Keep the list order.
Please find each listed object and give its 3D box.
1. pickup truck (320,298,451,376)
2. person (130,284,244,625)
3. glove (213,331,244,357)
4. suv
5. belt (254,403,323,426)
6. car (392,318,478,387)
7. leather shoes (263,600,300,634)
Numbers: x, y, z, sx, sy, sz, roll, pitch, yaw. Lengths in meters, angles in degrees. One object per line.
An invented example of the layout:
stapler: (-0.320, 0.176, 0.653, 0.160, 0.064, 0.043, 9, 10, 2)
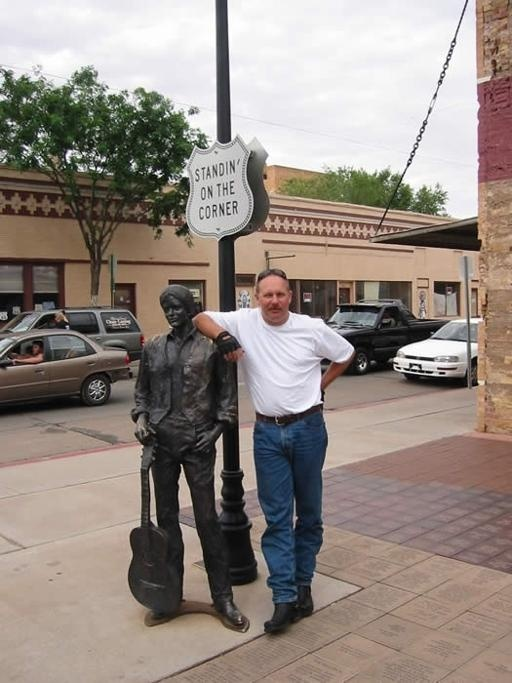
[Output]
pickup truck: (3.499, -0.245, 17.487, 3.956, 1.611, 1.855, -3, 0, -39)
person: (-0.351, 0.564, 3.158, 0.531, 1.707, 0.344, -2, 1, -8)
glove: (-0.164, 0.006, 3.073, 0.088, 0.116, 0.177, -3, 2, -42)
suv: (-4.190, -0.305, 15.938, 4.197, 1.629, 1.821, 0, 1, -28)
belt: (0.170, 0.376, 3.239, 0.347, 0.088, 0.195, -2, 1, 2)
car: (4.278, 0.202, 14.413, 2.555, 0.829, 1.075, -1, 0, -45)
leather shoes: (0.139, 1.325, 3.011, 0.084, 0.151, 0.229, -17, -11, 32)
